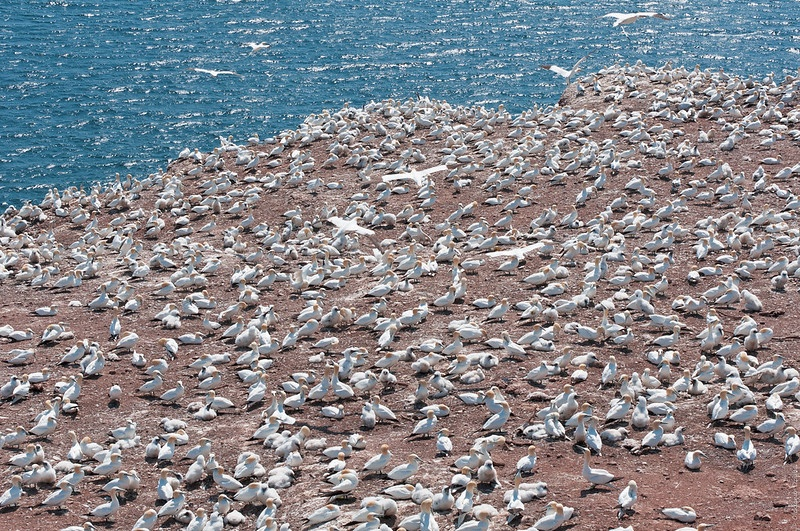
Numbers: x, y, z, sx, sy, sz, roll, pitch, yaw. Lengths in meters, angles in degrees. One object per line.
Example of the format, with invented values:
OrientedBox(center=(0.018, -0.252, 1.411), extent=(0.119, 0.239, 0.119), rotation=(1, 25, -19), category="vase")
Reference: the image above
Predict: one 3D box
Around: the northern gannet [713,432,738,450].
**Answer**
OrientedBox(center=(15.612, 8.426, 82.766), extent=(0.749, 0.609, 1.015), rotation=(-15, 27, -28), category="northern gannet")
